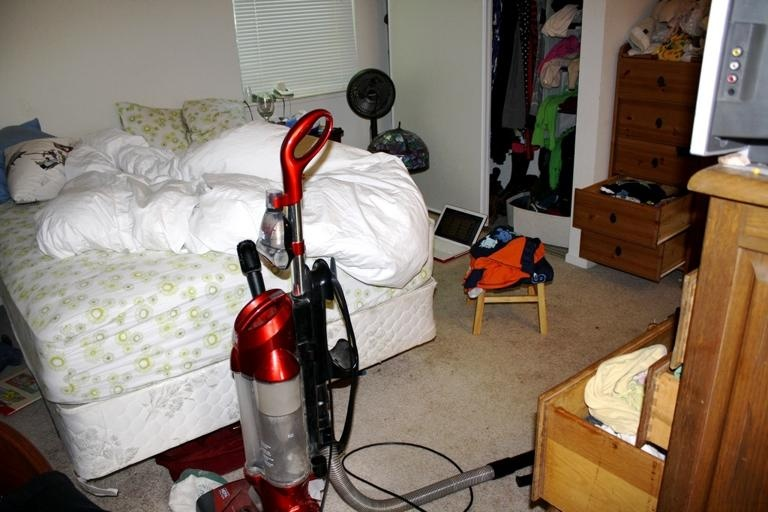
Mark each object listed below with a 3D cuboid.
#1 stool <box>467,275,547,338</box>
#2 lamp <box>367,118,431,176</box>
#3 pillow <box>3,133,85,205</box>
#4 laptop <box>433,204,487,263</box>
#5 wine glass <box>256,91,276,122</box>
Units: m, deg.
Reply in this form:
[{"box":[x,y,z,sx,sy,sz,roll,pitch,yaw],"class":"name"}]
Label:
[{"box":[0.746,0.269,3.341,0.359,0.262,0.357,0,16,7],"class":"stool"},{"box":[0.115,-0.824,4.236,0.402,0.285,0.411,18,26,40],"class":"lamp"},{"box":[-2.015,-0.475,3.411,0.435,0.138,0.464,-17,51,-23],"class":"pillow"},{"box":[0.541,-0.180,4.185,0.429,0.414,0.265,13,-8,45],"class":"laptop"},{"box":[-0.840,-1.051,3.981,0.113,0.200,0.215,-11,24,-16],"class":"wine glass"}]
